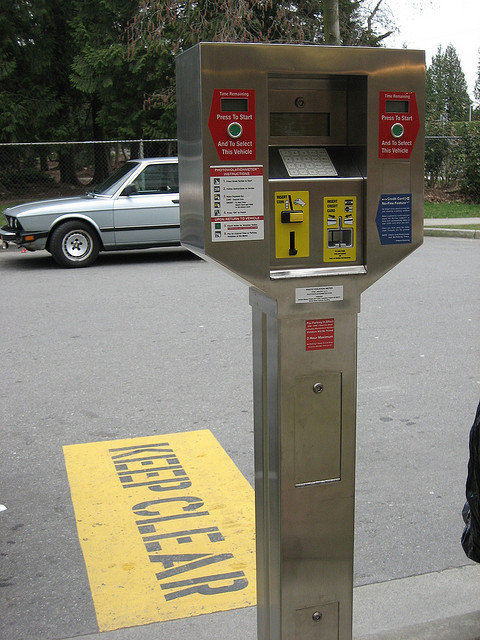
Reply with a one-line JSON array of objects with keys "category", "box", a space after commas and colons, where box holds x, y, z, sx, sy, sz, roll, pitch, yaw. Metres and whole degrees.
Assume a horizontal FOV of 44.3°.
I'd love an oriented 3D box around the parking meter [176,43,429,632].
[{"category": "parking meter", "box": [0.208, 0.093, 1.561, 0.621, 1.529, 0.237, -10, 15, -34]}]
